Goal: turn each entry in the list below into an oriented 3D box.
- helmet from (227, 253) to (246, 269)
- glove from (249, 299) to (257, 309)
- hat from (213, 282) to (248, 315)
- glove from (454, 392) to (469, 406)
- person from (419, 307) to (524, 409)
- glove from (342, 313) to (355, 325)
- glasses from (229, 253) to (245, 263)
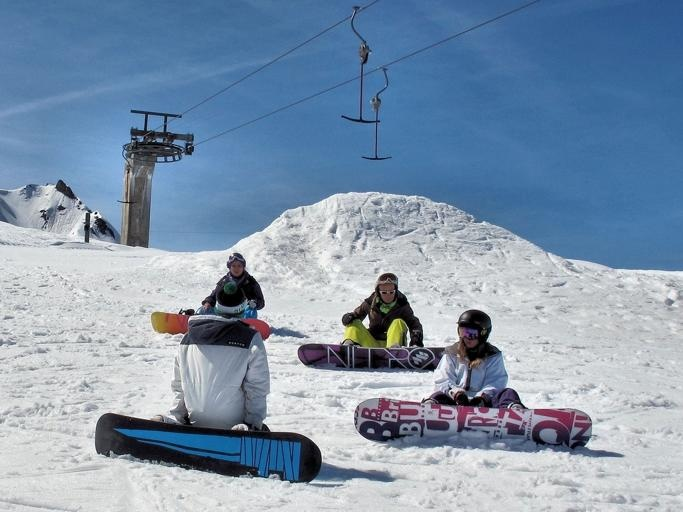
[{"bbox_3d":[-1.792,0.104,16.591,0.274,0.293,0.242,-1,18,0],"label":"helmet"},{"bbox_3d":[-1.543,0.843,16.817,0.115,0.127,0.140,-2,6,-24],"label":"glove"},{"bbox_3d":[-1.314,0.513,11.451,0.338,0.261,0.426,4,29,-5],"label":"hat"},{"bbox_3d":[1.546,1.849,12.558,0.218,0.082,0.258,-2,1,6],"label":"glove"},{"bbox_3d":[1.777,1.405,12.702,1.342,1.138,1.229,0,10,38],"label":"person"},{"bbox_3d":[0.113,1.066,16.440,0.240,0.196,0.157,5,-7,-1],"label":"glove"},{"bbox_3d":[-1.782,0.033,16.561,0.176,0.099,0.214,6,-30,-6],"label":"glasses"}]
